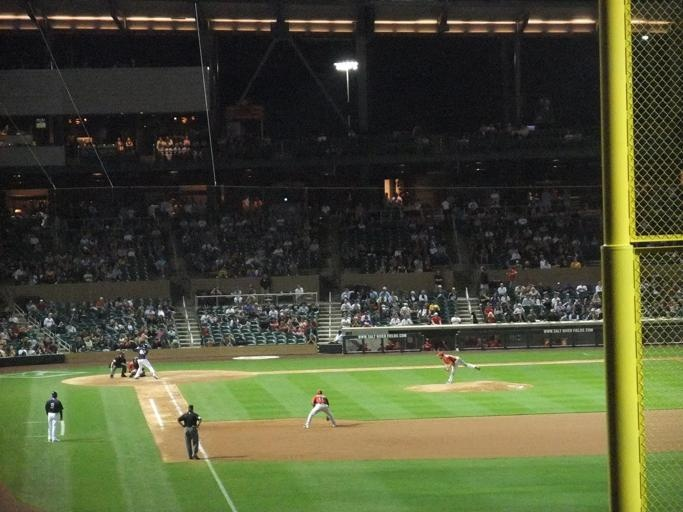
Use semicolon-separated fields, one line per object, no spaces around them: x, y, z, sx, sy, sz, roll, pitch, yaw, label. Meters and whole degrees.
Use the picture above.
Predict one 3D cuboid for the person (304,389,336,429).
-0.840;5.954;39.250;1.455;1.795;1.028;0;-1;-14;person
